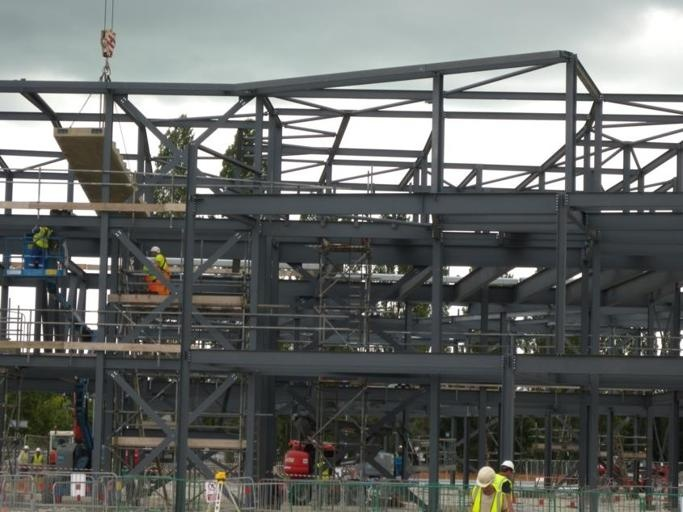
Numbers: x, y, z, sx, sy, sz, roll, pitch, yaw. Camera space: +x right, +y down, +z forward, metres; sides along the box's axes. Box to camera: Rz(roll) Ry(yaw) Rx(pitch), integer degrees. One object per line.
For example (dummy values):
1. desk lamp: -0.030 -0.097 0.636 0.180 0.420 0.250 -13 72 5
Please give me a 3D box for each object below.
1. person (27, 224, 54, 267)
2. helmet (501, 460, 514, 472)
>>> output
1. person: -12.924 -0.360 91.786 0.894 1.889 0.584 -2 -13 11
2. helmet: 6.199 8.001 80.187 0.459 0.314 0.617 13 2 11
